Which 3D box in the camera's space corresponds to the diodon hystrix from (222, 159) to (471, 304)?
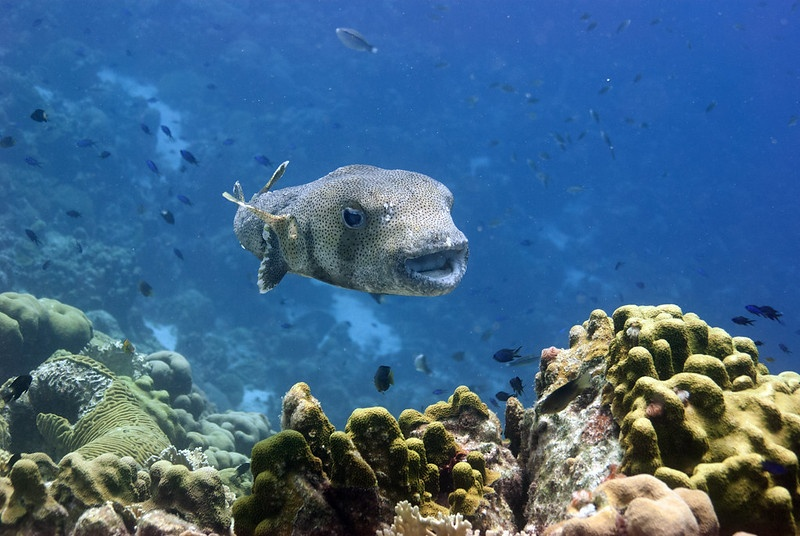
[{"bbox_3d":[-3.421,-1.789,37.889,14.153,6.341,9.124,4,8,40],"label":"diodon hystrix"}]
